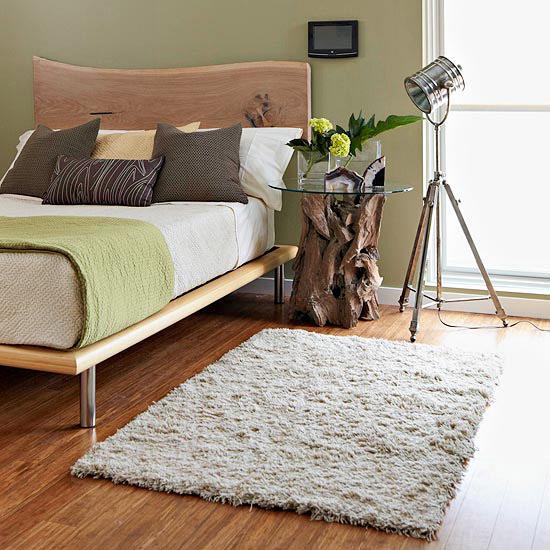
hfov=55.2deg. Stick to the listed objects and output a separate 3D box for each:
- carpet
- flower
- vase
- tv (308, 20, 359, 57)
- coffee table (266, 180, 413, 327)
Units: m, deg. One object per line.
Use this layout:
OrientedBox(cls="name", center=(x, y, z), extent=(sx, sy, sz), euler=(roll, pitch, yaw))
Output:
OrientedBox(cls="carpet", center=(0.200, 0.474, 1.961), extent=(1.086, 0.042, 1.423), euler=(4, 11, 26))
OrientedBox(cls="flower", center=(0.340, -0.711, 2.930), extent=(0.601, 0.317, 0.638), euler=(-5, 12, -23))
OrientedBox(cls="vase", center=(0.331, -0.582, 2.771), extent=(0.518, 0.274, 0.257), euler=(1, 6, 7))
OrientedBox(cls="tv", center=(0.365, -1.422, 3.156), extent=(0.268, 0.165, 0.034), euler=(1, 11, 16))
OrientedBox(cls="coffee table", center=(0.327, -0.084, 2.870), extent=(0.498, 0.720, 0.206), euler=(2, 13, 9))
